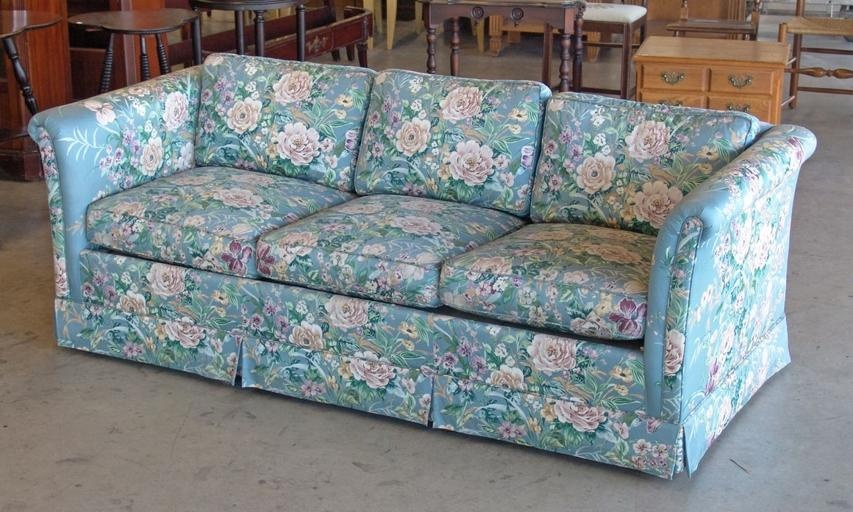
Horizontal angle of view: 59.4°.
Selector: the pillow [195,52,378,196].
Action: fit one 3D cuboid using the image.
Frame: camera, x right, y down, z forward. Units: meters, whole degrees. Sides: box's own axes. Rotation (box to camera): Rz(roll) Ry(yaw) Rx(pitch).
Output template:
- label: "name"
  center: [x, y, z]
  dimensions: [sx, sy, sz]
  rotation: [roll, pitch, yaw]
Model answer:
- label: "pillow"
  center: [-0.599, -0.540, 3.290]
  dimensions: [0.910, 0.547, 0.192]
  rotation: [11, 4, 14]
